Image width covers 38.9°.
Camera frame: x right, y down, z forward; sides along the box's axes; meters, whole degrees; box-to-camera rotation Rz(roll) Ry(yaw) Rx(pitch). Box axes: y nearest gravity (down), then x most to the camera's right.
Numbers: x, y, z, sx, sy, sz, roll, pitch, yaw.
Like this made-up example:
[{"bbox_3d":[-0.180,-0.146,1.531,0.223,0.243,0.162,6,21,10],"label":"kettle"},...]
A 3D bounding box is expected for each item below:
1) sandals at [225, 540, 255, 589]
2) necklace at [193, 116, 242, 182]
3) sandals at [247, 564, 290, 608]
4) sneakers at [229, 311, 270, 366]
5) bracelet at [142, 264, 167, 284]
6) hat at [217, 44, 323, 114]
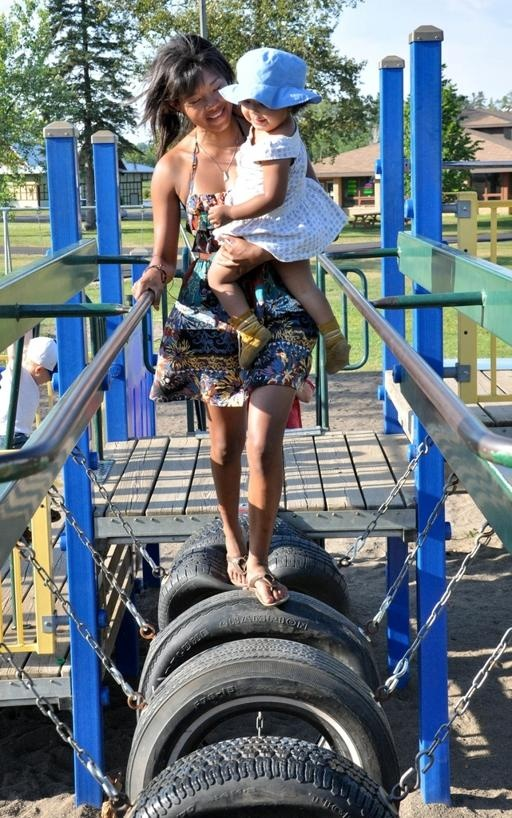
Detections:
[{"bbox_3d":[-0.045,0.479,2.155,0.056,0.065,0.158,1,3,-9],"label":"sandals"},{"bbox_3d":[-0.098,-0.745,2.100,0.166,0.172,0.061,4,13,8],"label":"necklace"},{"bbox_3d":[0.031,0.484,1.947,0.065,0.050,0.165,-11,14,-15],"label":"sandals"},{"bbox_3d":[-0.026,-0.188,1.928,0.079,0.137,0.140,-12,21,-27],"label":"sneakers"},{"bbox_3d":[-0.294,-0.400,2.175,0.014,0.052,0.052,-19,-12,42],"label":"bracelet"},{"bbox_3d":[0.031,-0.879,1.921,0.258,0.173,0.254,-3,19,-3],"label":"hat"}]
